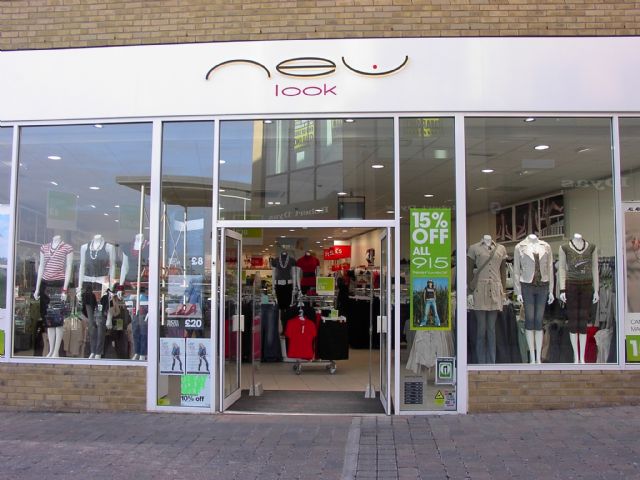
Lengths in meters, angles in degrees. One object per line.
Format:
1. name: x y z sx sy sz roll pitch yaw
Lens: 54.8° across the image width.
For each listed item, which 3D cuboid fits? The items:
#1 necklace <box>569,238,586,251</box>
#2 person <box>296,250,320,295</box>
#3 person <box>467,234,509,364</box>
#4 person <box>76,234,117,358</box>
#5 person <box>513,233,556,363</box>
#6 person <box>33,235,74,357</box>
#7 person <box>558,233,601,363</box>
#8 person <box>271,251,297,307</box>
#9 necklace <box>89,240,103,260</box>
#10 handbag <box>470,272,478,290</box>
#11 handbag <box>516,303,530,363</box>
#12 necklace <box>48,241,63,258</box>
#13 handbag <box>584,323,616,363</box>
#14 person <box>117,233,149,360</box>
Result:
1. necklace: 3.524 0.058 8.425 0.144 0.203 0.096 1 -10 6
2. person: -0.251 0.667 12.483 0.449 0.887 0.678 -1 2 -2
3. person: 2.279 0.798 8.328 0.539 1.697 0.217 -1 2 -17
4. person: -3.126 0.772 8.556 0.565 1.696 0.235 0 2 16
5. person: 2.905 0.786 8.353 0.523 1.721 0.278 0 2 8
6. person: -3.721 0.783 8.606 0.510 1.667 0.239 -1 2 -15
7. person: 3.529 0.784 8.372 0.526 1.719 0.238 -1 2 -9
8. person: -0.720 0.792 12.164 0.477 1.192 0.288 0 2 3
9. necklace: -3.152 0.137 8.619 0.170 0.250 0.058 1 -7 2
10. handbag: 2.073 0.571 8.347 0.134 0.236 0.033 -1 2 -28
11. handbag: 2.735 1.276 8.335 0.130 0.745 0.181 -1 2 1
12. necklace: -3.705 0.117 8.604 0.128 0.180 0.087 3 -8 1
13. handbag: 3.772 1.415 8.303 0.408 0.461 0.132 0 2 10
14. person: -2.565 0.778 8.437 0.398 1.704 0.238 -1 2 -1
